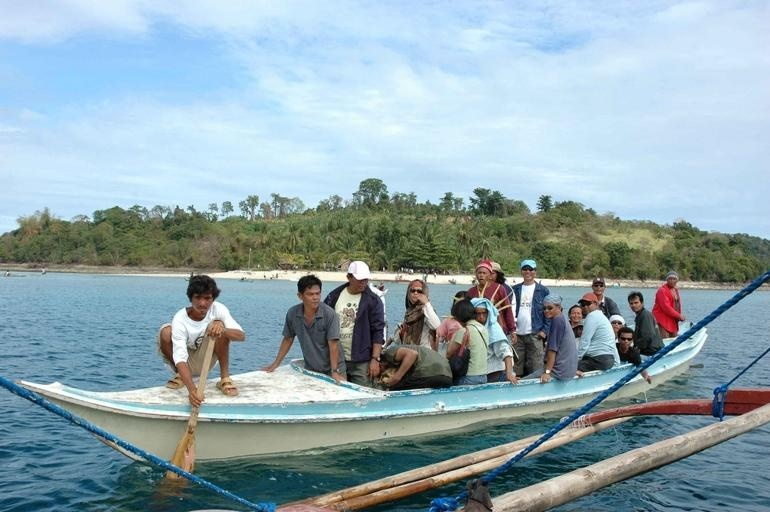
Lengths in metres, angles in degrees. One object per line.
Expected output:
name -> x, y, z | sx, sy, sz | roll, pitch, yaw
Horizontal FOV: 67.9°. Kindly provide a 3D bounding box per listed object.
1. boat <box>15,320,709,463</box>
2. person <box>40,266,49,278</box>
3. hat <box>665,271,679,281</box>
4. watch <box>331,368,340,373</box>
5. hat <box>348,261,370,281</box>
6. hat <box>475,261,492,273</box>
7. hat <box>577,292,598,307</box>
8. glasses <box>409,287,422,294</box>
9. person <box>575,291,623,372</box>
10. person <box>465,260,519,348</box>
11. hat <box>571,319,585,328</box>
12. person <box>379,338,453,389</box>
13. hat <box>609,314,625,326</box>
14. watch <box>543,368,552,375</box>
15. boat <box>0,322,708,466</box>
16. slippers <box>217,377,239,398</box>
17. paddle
boat -> 2.485, 2.503, 11.661 | 17.200, 2.281, 3.359 | 5, -8, -29
person -> -51.243, 2.453, 85.872 | 0.899, 1.238, 3.508 | 3, 7, -18
hat -> 6.976, 0.436, 13.883 | 0.299, 0.197, 0.366 | 1, -29, 18
watch -> -0.802, 1.834, 9.149 | 0.121, 0.063, 0.117 | 1, -3, -8
hat -> -0.447, 0.236, 9.526 | 0.366, 0.308, 0.425 | 4, 4, -4
hat -> 1.934, 0.187, 11.098 | 0.221, 0.214, 0.299 | 4, -12, -4
hat -> 4.222, 0.884, 11.900 | 0.273, 0.202, 0.420 | -16, -24, 41
glasses -> 0.526, 0.612, 10.199 | 0.245, 0.105, 0.116 | 6, 4, 29
person -> 4.090, 1.664, 11.763 | 1.251, 1.801, 0.828 | 3, -2, 33
person -> 1.978, 1.379, 11.042 | 0.931, 2.422, 0.865 | -3, -7, 12
hat -> 4.211, 1.490, 12.498 | 0.209, 0.087, 0.301 | -2, -1, -1
person -> 0.492, 1.894, 9.839 | 1.432, 0.702, 1.039 | -5, -12, 24
hat -> 5.134, 1.409, 12.626 | 0.217, 0.254, 0.274 | 6, -27, 38
watch -> 2.982, 2.137, 10.504 | 0.113, 0.105, 0.035 | 11, -5, -15
boat -> 0.189, 2.430, 9.615 | 10.725, 1.437, 0.899 | 3, 5, -25
slippers -> -2.281, 1.931, 8.349 | 0.171, 0.156, 0.416 | 2, -3, -31
paddle -> -2.738, 2.168, 7.999 | 0.460, 2.060, 0.998 | 4, 4, -6
